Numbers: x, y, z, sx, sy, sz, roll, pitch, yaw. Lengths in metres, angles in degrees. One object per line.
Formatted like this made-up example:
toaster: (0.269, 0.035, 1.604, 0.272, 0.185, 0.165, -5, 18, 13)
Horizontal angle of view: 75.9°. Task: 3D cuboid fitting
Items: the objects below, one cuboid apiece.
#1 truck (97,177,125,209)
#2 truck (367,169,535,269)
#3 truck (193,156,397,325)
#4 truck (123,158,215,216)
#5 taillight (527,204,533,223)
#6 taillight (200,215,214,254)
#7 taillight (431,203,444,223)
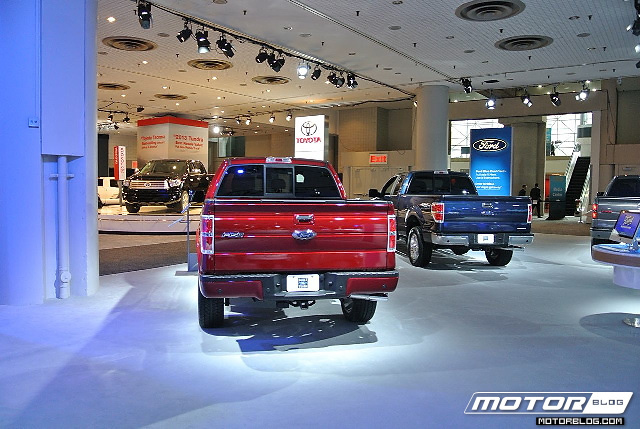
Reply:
truck: (-13.095, -1.460, 25.324, 1.071, 1.626, 2.066, -2, 7, -23)
truck: (2.867, -0.097, 10.077, 2.288, 1.379, 4.202, -2, 8, -11)
truck: (-0.110, 0.343, 5.518, 2.937, 2.220, 2.298, 0, 6, -8)
truck: (-6.558, -1.235, 19.243, 3.705, 1.710, 5.002, 0, 1, 7)
taillight: (4.199, -0.027, 8.238, 0.062, 0.362, 0.168, 7, 9, 40)
taillight: (-1.185, 0.204, 4.283, 0.141, 0.406, 0.043, 3, 7, 17)
taillight: (2.280, -0.039, 8.003, 0.078, 0.378, 0.246, -5, 9, -40)
